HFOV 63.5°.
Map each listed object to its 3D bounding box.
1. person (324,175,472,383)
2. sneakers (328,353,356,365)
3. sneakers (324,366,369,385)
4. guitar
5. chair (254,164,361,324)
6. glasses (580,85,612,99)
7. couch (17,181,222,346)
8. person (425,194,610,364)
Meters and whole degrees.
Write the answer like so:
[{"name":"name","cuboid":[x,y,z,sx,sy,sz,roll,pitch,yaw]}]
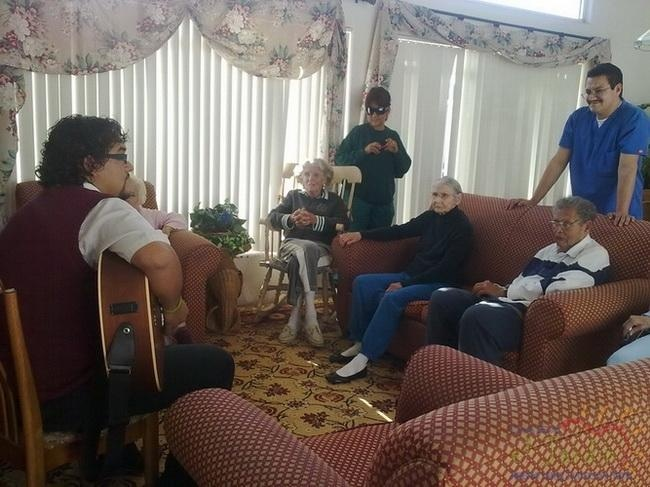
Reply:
[{"name":"person","cuboid":[0.433,0.180,3.341,0.970,1.271,0.635,1,8,-28]},{"name":"sneakers","cuboid":[0.102,0.718,3.280,0.148,0.039,0.071,-8,-5,37]},{"name":"sneakers","cuboid":[0.123,0.763,3.043,0.222,0.071,0.083,3,-5,-28]},{"name":"guitar","cuboid":[-0.640,0.298,1.789,0.164,0.501,0.502,-5,-25,-15]},{"name":"chair","cuboid":[-0.151,-0.009,4.107,0.673,1.231,0.660,10,11,23]},{"name":"glasses","cuboid":[1.728,-0.946,3.298,0.093,0.057,0.126,2,3,44]},{"name":"couch","cuboid":[-1.377,0.119,3.156,1.047,1.281,1.211,-2,9,-36]},{"name":"person","cuboid":[1.024,0.176,2.709,0.792,0.836,0.615,-3,13,-23]}]
